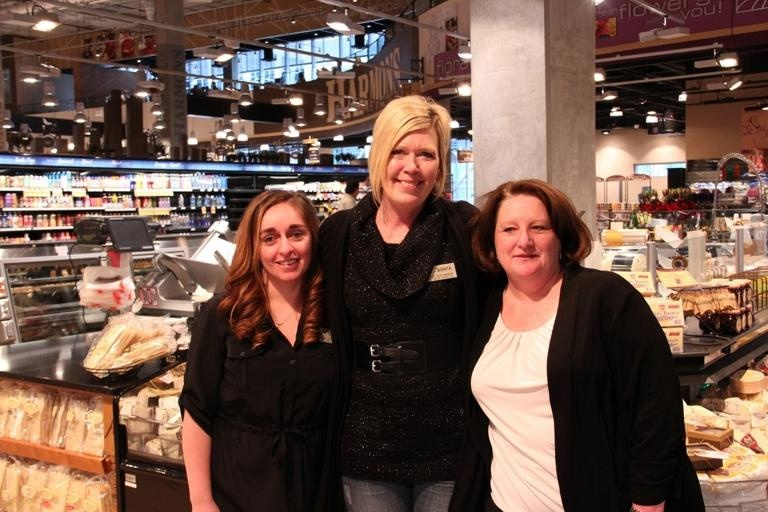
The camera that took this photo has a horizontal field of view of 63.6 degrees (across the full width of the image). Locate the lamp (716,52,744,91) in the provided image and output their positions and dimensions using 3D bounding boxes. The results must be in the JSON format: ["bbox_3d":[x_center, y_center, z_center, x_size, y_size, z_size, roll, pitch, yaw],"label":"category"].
[{"bbox_3d":[6.722,-3.634,12.074,0.357,0.607,4.374,1,7,29],"label":"lamp"}]

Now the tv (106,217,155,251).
[{"bbox_3d":[-1.779,-0.161,4.348,0.101,0.245,0.295,-33,-22,37],"label":"tv"}]
